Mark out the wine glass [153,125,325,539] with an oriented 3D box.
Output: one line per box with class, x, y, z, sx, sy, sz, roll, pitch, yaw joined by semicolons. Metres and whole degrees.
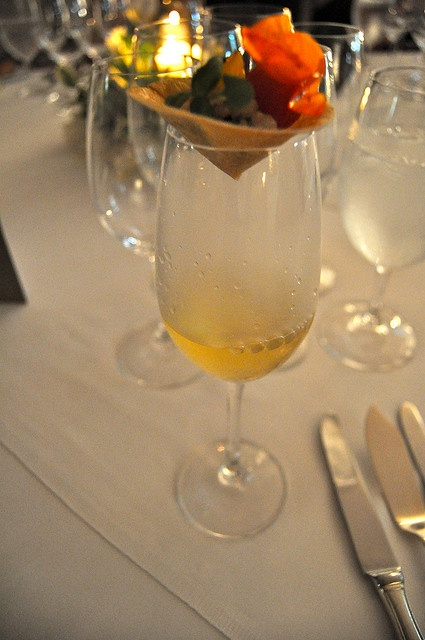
wine glass;0.025;0.021;0.434;0.127;0.313;0.129;-4;34;-6
